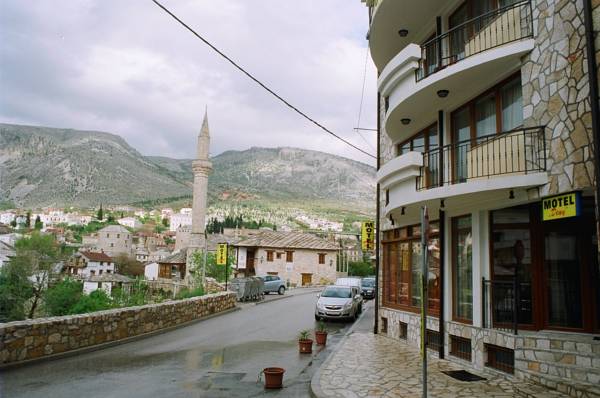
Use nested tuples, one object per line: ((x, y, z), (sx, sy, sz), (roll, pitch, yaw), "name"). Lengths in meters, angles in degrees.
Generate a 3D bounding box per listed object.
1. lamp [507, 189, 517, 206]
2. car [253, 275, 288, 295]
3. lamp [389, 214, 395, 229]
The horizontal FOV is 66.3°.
((6.605, -0.109, 14.381), (0.207, 0.282, 0.550), (-4, -14, 24), "lamp")
((-2.368, 8.071, 43.030), (1.741, 1.803, 2.764), (-1, -13, 7), "car")
((4.198, 1.049, 21.001), (0.279, 0.516, 0.987), (-1, -13, 11), "lamp")
